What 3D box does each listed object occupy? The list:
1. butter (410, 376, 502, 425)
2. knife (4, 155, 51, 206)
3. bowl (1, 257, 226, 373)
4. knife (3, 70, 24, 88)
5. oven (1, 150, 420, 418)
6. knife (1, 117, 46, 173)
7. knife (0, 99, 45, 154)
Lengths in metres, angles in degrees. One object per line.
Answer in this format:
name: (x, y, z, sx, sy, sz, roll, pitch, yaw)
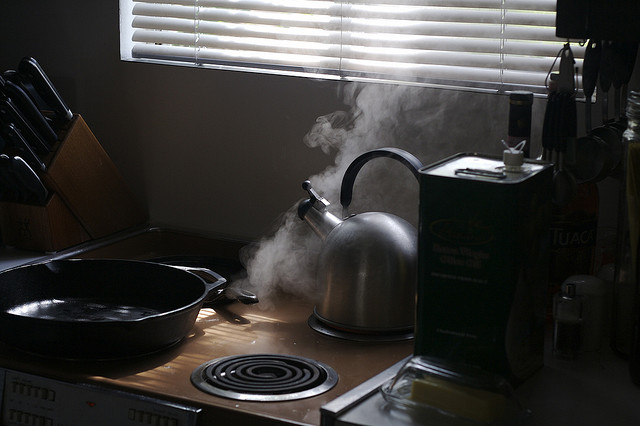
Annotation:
butter: (0.228, 0.301, 0.913, 0.098, 0.027, 0.071, 12, 13, 30)
knife: (-0.851, -0.088, 1.582, 0.051, 0.047, 0.195, -25, -23, -9)
bowl: (-0.519, 0.177, 1.287, 0.280, 0.063, 0.369, 6, 7, 37)
knife: (-0.934, -0.407, 1.653, 0.040, 0.019, 0.056, -5, 35, -36)
oven: (-0.299, 0.114, 1.380, 1.072, 0.517, 0.818, 2, 15, 15)
knife: (-0.877, -0.200, 1.600, 0.038, 0.172, 0.046, -29, 12, 28)
knife: (-0.867, -0.255, 1.608, 0.033, 0.125, 0.124, -31, 60, -17)
